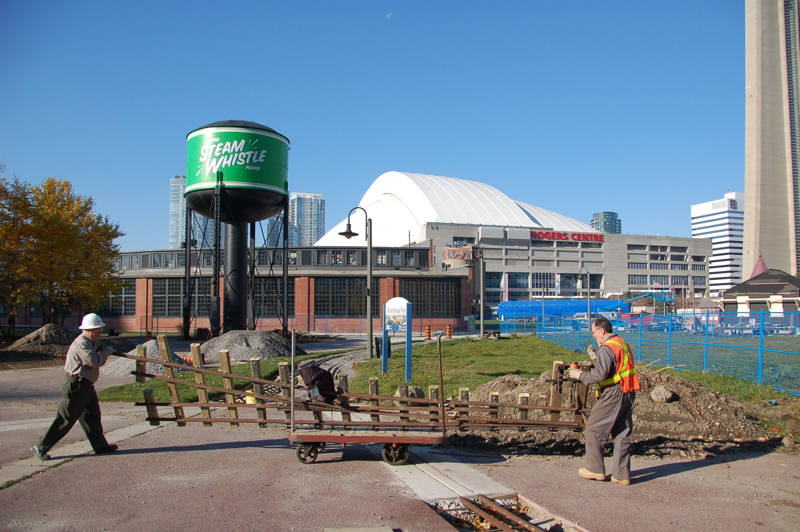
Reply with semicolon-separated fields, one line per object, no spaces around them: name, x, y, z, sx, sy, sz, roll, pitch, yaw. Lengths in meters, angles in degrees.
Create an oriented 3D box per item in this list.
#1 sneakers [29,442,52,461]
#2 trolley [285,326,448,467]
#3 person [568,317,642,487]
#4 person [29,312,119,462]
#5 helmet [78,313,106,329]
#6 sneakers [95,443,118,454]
sneakers;-8.514;4.443;19.290;0.607;0.255;0.229;10;2;30
trolley;-0.765;4.020;20.173;3.762;1.676;2.248;2;-8;-1
person;4.991;3.212;19.349;1.329;3.908;0.534;-2;-3;16
person;-7.729;2.894;19.717;1.630;3.450;1.083;0;-3;-19
helmet;-7.481;1.386;19.865;0.438;0.256;0.512;0;4;19
sneakers;-7.127;4.482;19.826;0.548;0.204;0.190;0;0;-26
